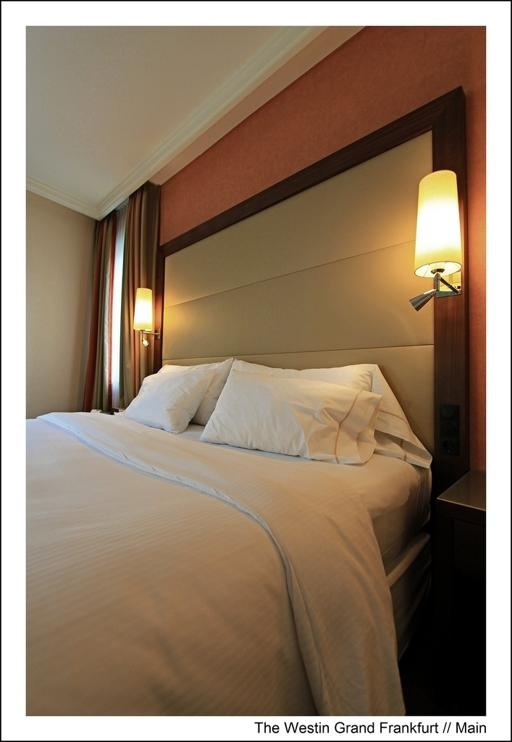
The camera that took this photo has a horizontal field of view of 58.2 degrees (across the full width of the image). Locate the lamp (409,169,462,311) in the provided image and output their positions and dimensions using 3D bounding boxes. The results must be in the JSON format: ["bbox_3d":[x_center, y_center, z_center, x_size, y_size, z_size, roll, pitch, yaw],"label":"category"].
[{"bbox_3d":[0.529,-0.368,1.340,0.117,0.388,0.092,-1,-2,30],"label":"lamp"}]

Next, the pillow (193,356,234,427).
[{"bbox_3d":[-0.202,0.088,2.124,0.056,0.268,0.212,18,-6,-30],"label":"pillow"}]
